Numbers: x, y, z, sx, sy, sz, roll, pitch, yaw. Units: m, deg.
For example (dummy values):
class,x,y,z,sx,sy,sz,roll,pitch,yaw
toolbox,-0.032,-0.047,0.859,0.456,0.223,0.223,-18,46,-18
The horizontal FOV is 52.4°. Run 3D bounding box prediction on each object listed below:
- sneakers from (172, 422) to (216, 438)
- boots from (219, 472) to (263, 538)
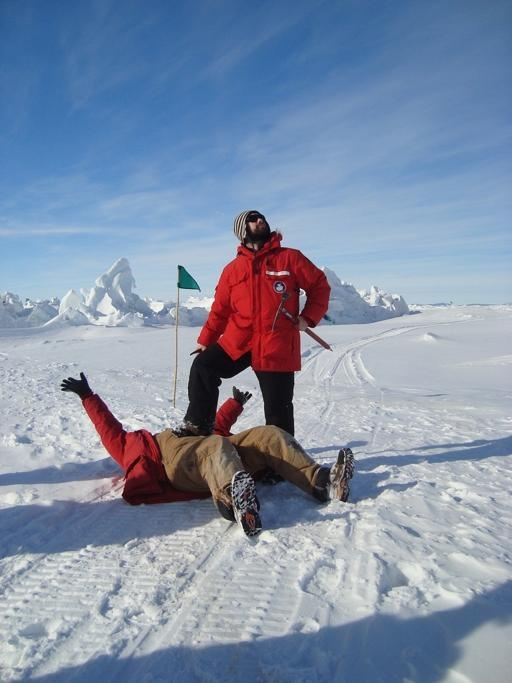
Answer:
class,x,y,z,sx,sy,sz,roll,pitch,yaw
sneakers,-0.458,0.655,3.786,0.271,0.106,0.097,14,-16,-14
boots,-0.088,0.946,3.048,0.158,0.394,0.183,1,-37,-17
